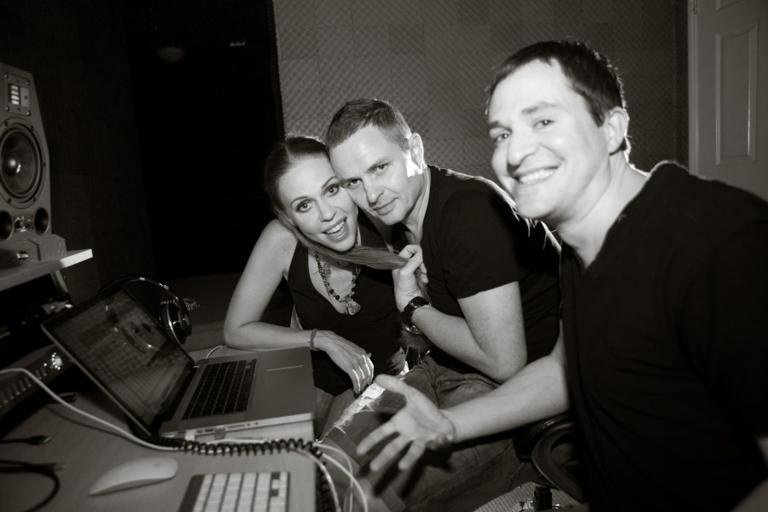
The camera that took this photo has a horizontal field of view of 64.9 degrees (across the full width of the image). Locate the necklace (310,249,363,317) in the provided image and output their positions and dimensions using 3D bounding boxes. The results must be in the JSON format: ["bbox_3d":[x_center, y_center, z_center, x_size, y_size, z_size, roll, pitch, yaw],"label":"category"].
[{"bbox_3d":[-0.227,0.138,3.043,0.188,0.336,0.085,-4,-1,-3],"label":"necklace"}]

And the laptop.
[{"bbox_3d":[-0.732,0.430,2.332,0.737,0.435,0.556,-8,27,2],"label":"laptop"}]

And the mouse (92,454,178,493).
[{"bbox_3d":[-0.839,0.728,2.042,0.254,0.054,0.111,-5,20,-17],"label":"mouse"}]

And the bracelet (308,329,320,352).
[{"bbox_3d":[-0.324,0.415,2.933,0.060,0.095,0.088,0,5,4],"label":"bracelet"}]
